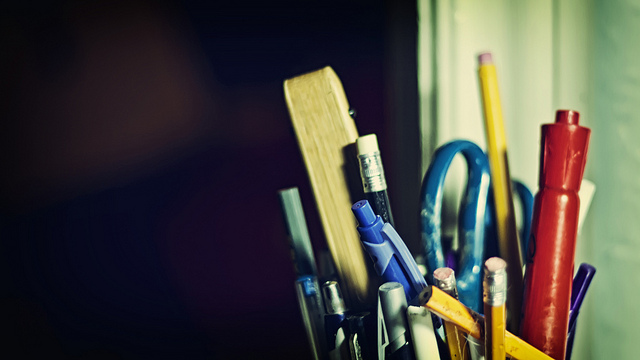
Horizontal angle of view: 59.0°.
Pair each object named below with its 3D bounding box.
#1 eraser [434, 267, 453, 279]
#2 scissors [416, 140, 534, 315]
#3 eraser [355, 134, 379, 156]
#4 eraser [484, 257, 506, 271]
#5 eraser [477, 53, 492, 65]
[{"bbox_3d":[0.202,0.150,0.921,0.029,0.014,0.017,-5,4,11],"label":"eraser"},{"bbox_3d":[0.271,0.070,1.051,0.150,0.359,0.131,1,3,-5],"label":"scissors"},{"bbox_3d":[0.081,-0.060,0.966,0.037,0.030,0.034,-14,6,-28],"label":"eraser"},{"bbox_3d":[0.269,0.126,0.869,0.022,0.011,0.023,5,37,28],"label":"eraser"},{"bbox_3d":[0.291,-0.211,0.995,0.021,0.018,0.020,-1,-5,5],"label":"eraser"}]
